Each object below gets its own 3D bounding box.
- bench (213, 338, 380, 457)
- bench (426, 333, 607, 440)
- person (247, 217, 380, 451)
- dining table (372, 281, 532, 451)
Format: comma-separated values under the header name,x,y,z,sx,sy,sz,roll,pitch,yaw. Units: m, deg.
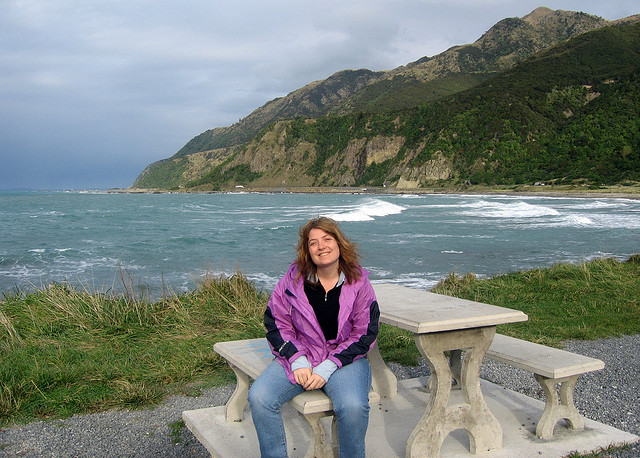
name,x,y,z,sx,sy,sz,roll,pitch,yaw
bench,-0.341,1.456,3.823,0.604,0.764,1.559,-7,10,-36
bench,2.035,1.465,4.050,0.599,0.701,0.818,-7,11,-38
person,-0.026,0.767,3.477,0.966,1.647,0.858,0,9,7
dining table,1.224,1.354,4.166,0.690,0.634,1.384,3,-5,-13
